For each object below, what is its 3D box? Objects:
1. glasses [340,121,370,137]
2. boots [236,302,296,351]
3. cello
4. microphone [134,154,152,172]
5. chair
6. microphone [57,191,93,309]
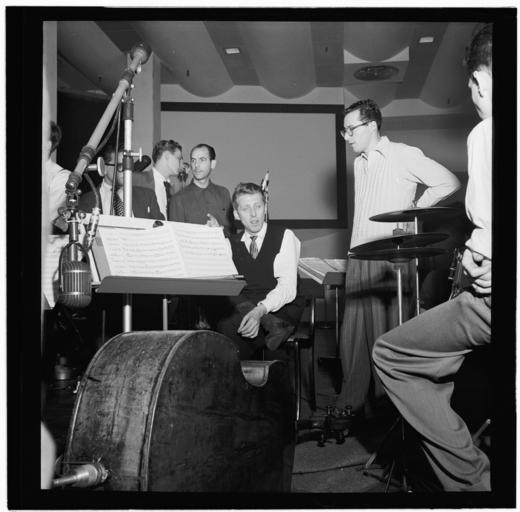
[{"bbox_3d":[0.471,-0.629,3.237,0.085,0.030,0.084,-17,1,-28],"label":"glasses"},{"bbox_3d":[0.034,0.340,3.189,0.237,0.211,0.105,10,3,13],"label":"boots"},{"bbox_3d":[-0.223,0.564,2.158,0.846,0.654,0.335,-1,1,-36],"label":"cello"},{"bbox_3d":[-0.584,-0.460,3.217,0.089,0.100,0.298,-1,0,-10],"label":"microphone"},{"bbox_3d":[0.131,0.473,3.129,0.242,0.558,0.241,-3,-5,31],"label":"chair"},{"bbox_3d":[-0.624,-0.009,2.171,0.109,0.374,0.172,-1,1,-18],"label":"microphone"}]
